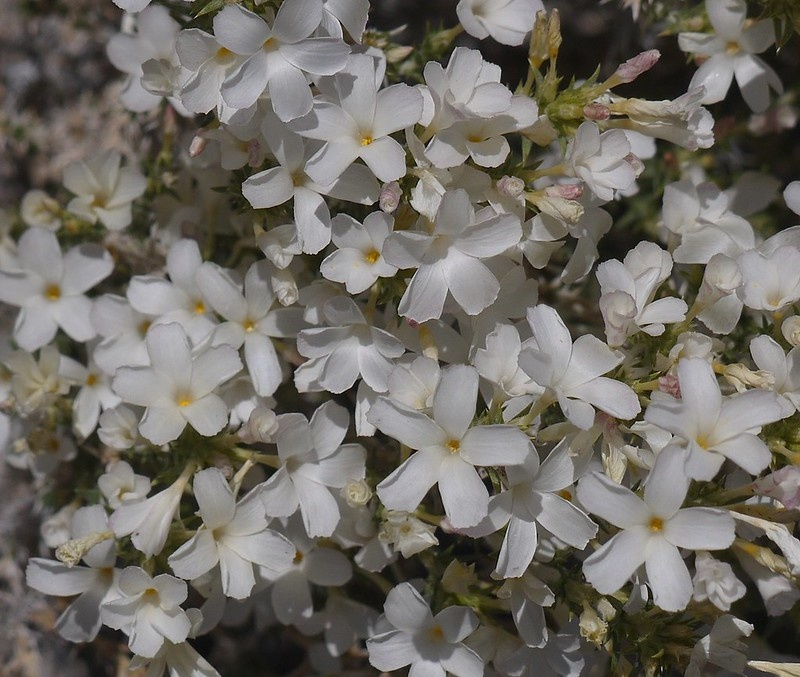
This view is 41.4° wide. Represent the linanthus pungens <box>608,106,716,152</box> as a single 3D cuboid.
[{"bbox_3d":[0.574,-0.441,2.231,0.155,0.099,0.090,7,87,-5],"label":"linanthus pungens"}]
